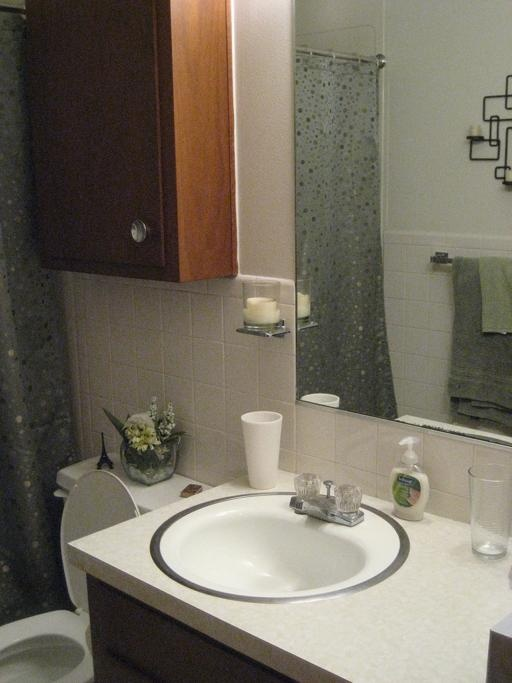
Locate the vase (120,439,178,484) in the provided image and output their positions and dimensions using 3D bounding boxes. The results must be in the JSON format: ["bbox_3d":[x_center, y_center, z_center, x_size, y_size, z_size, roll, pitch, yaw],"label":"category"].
[{"bbox_3d":[-0.287,0.318,1.609,0.116,0.099,0.136,1,6,27],"label":"vase"}]

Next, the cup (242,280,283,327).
[{"bbox_3d":[0.014,-0.082,1.288,0.092,0.107,0.091,0,3,0],"label":"cup"}]

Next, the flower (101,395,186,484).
[{"bbox_3d":[-0.274,0.272,1.593,0.144,0.218,0.124,-5,4,-31],"label":"flower"}]
